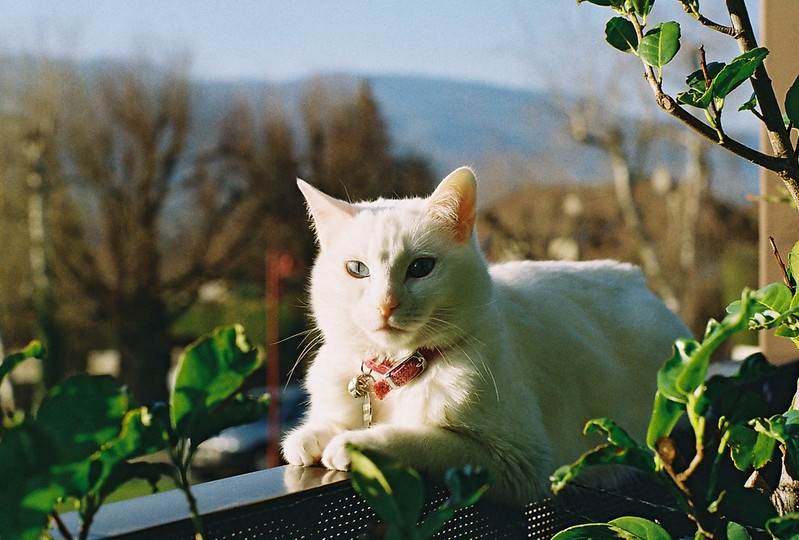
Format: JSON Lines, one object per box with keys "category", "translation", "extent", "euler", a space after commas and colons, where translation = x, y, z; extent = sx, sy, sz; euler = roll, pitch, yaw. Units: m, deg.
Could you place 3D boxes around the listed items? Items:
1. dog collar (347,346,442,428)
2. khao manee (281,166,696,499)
{"category": "dog collar", "translation": [-0.024, 0.348, 3.849], "extent": [0.271, 0.104, 0.207], "euler": [-40, -4, 9]}
{"category": "khao manee", "translation": [0.385, 0.233, 4.436], "extent": [1.773, 1.094, 1.041], "euler": [-1, -3, -41]}
